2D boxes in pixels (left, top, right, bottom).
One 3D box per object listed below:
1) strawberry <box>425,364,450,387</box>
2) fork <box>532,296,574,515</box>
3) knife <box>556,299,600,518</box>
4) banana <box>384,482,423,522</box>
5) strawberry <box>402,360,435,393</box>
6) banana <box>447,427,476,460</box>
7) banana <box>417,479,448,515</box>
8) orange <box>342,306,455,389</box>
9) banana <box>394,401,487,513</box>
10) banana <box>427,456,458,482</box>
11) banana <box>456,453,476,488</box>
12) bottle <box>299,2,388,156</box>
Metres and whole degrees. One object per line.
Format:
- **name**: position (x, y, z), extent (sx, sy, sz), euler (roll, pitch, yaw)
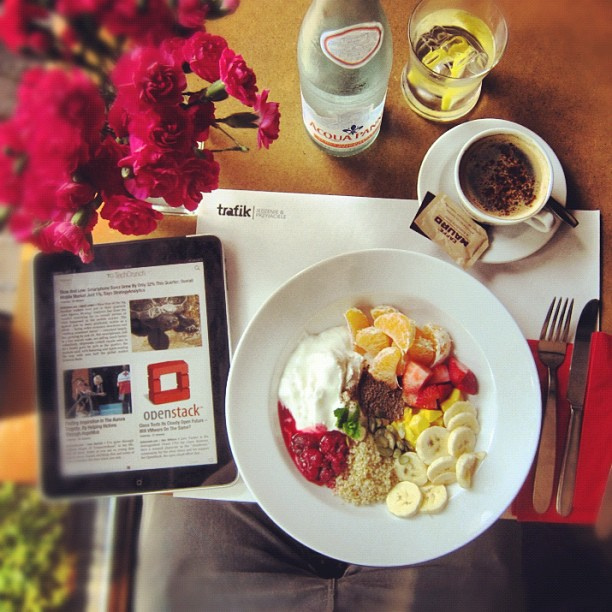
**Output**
- **strawberry**: position (0.259, 0.138, 1.296), extent (0.043, 0.017, 0.043), euler (-43, 87, -4)
- **fork**: position (0.503, 0.175, 1.343), extent (0.087, 0.067, 0.604), euler (9, 40, 17)
- **knife**: position (0.519, 0.192, 1.285), extent (0.063, 0.039, 0.474), euler (6, 95, 9)
- **banana**: position (0.188, 0.371, 1.257), extent (0.073, 0.033, 0.053), euler (-28, 82, -1)
- **strawberry**: position (0.211, 0.139, 1.288), extent (0.057, 0.036, 0.065), euler (39, 86, 7)
- **banana**: position (0.299, 0.264, 1.275), extent (0.015, 0.059, 0.053), euler (10, 99, 51)
- **banana**: position (0.235, 0.354, 1.216), extent (0.061, 0.015, 0.054), euler (-6, 61, 9)
- **orange**: position (0.185, 0.054, 1.285), extent (0.187, 0.078, 0.186), euler (-28, 82, -2)
- **banana**: position (0.268, 0.288, 1.268), extent (0.136, 0.042, 0.222), euler (33, 94, 21)
- **banana**: position (0.263, 0.309, 1.261), extent (0.051, 0.047, 0.013), euler (15, 33, -24)
- **banana**: position (0.302, 0.310, 1.243), extent (0.016, 0.057, 0.052), euler (1, 106, 35)
- **bottle**: position (0.062, -0.398, 1.128), extent (0.113, 0.295, 0.099), euler (-19, 72, -1)
